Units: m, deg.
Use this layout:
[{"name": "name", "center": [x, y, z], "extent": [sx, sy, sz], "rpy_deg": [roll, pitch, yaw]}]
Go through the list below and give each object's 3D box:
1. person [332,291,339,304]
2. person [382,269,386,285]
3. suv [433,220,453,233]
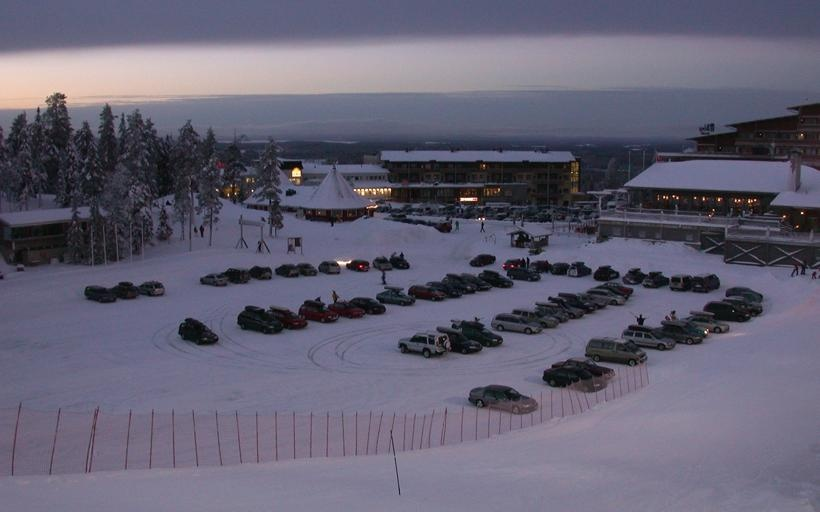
[{"name": "person", "center": [-6.863, 3.839, 82.492], "extent": [0.279, 0.925, 0.901], "rpy_deg": [-6, 9, 15]}, {"name": "person", "center": [-2.658, 2.162, 91.515], "extent": [0.444, 1.216, 1.302], "rpy_deg": [-9, -10, -8]}, {"name": "suv", "center": [4.324, -3.856, 119.562], "extent": [1.402, 1.196, 2.330], "rpy_deg": [-7, 16, -35]}]
